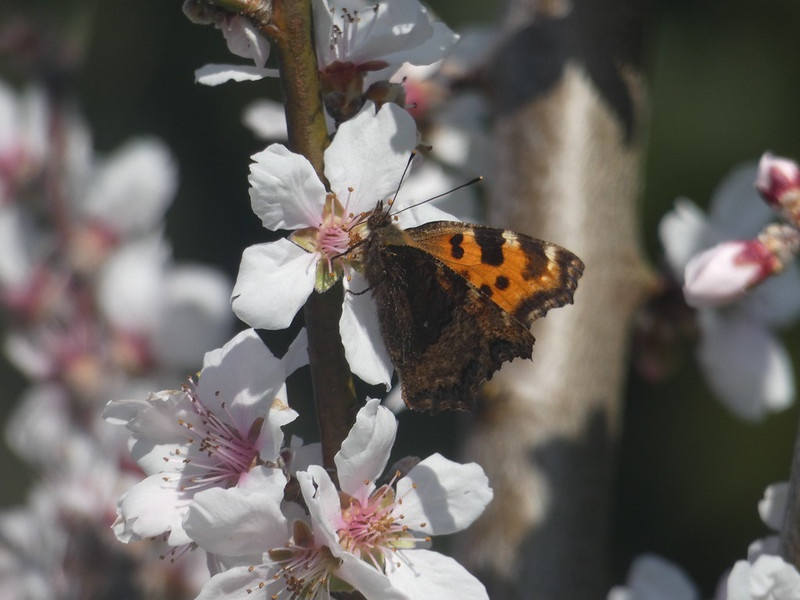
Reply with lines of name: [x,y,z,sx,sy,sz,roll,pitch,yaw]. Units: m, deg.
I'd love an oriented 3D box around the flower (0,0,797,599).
flower: [-0.033,0.027,2.905,0.407,0.310,1.433,-35,70,-17]
